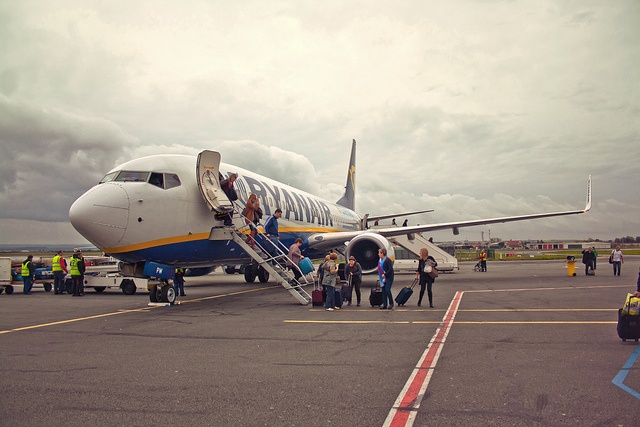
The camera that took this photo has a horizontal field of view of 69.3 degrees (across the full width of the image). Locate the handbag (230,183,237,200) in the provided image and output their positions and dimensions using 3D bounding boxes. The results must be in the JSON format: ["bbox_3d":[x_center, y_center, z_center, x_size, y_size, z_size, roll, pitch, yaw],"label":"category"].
[{"bbox_3d":[-2.938,-0.679,15.856,0.103,0.387,0.430,5,3,4],"label":"handbag"}]

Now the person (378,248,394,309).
[{"bbox_3d":[2.119,2.081,14.725,0.414,1.845,0.673,-2,-6,6],"label":"person"}]

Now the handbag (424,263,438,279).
[{"bbox_3d":[3.576,1.814,14.662,0.525,0.416,0.308,2,-7,-35],"label":"handbag"}]

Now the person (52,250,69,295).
[{"bbox_3d":[-11.921,2.712,21.238,0.542,1.983,1.578,2,-6,-29],"label":"person"}]
